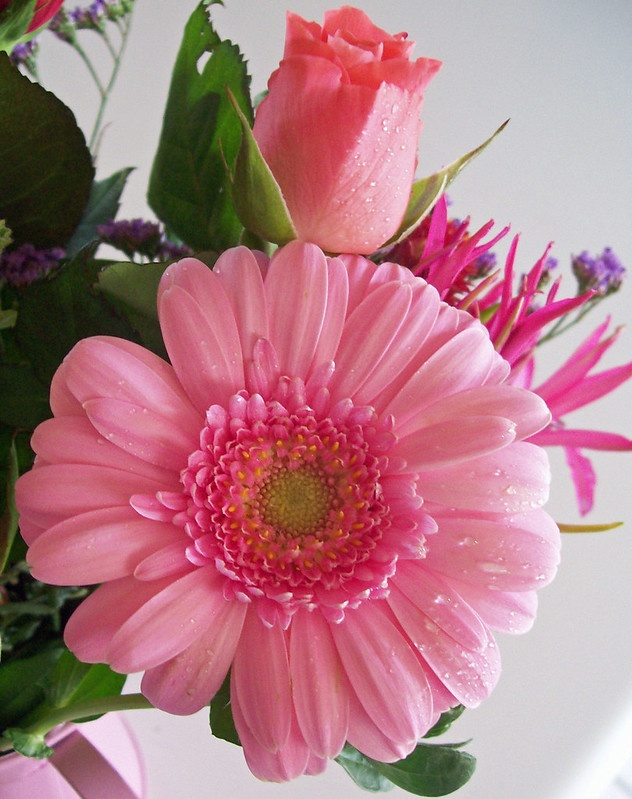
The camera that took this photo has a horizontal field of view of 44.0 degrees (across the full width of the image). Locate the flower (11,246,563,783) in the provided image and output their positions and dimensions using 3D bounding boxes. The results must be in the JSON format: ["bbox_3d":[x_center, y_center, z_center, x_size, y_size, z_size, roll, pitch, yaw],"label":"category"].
[{"bbox_3d":[-0.029,0.069,0.441,0.301,0.097,0.280,2,42,-49],"label":"flower"}]
